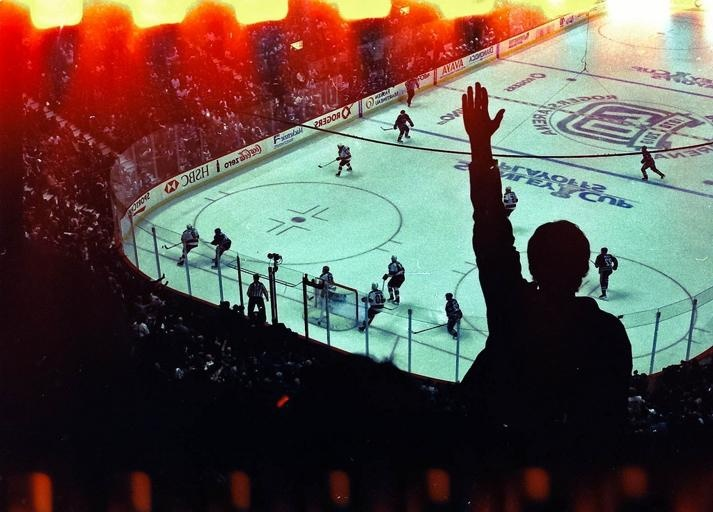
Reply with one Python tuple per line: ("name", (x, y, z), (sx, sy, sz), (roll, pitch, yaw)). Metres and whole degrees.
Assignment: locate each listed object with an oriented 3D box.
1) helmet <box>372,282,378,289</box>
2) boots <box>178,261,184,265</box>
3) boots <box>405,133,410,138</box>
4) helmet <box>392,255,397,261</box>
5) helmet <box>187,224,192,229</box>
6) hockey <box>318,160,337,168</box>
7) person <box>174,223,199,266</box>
("helmet", (0.538, 0.941, 23.076), (0.140, 0.164, 0.170), (3, 23, 6))
("boots", (-6.115, 0.283, 26.321), (0.264, 0.184, 0.084), (7, 27, -3))
("boots", (2.732, -6.470, 41.276), (0.252, 0.179, 0.209), (1, -37, 9))
("helmet", (1.178, 0.099, 24.434), (0.138, 0.149, 0.164), (6, 24, 14))
("helmet", (-5.913, -1.002, 26.695), (0.185, 0.106, 0.202), (-1, 9, -6))
("hockey", (-1.439, -4.413, 36.676), (1.024, 0.057, 0.333), (-25, -36, 23))
("person", (-5.893, -0.351, 26.390), (0.766, 1.395, 2.037), (-3, 3, -12))
